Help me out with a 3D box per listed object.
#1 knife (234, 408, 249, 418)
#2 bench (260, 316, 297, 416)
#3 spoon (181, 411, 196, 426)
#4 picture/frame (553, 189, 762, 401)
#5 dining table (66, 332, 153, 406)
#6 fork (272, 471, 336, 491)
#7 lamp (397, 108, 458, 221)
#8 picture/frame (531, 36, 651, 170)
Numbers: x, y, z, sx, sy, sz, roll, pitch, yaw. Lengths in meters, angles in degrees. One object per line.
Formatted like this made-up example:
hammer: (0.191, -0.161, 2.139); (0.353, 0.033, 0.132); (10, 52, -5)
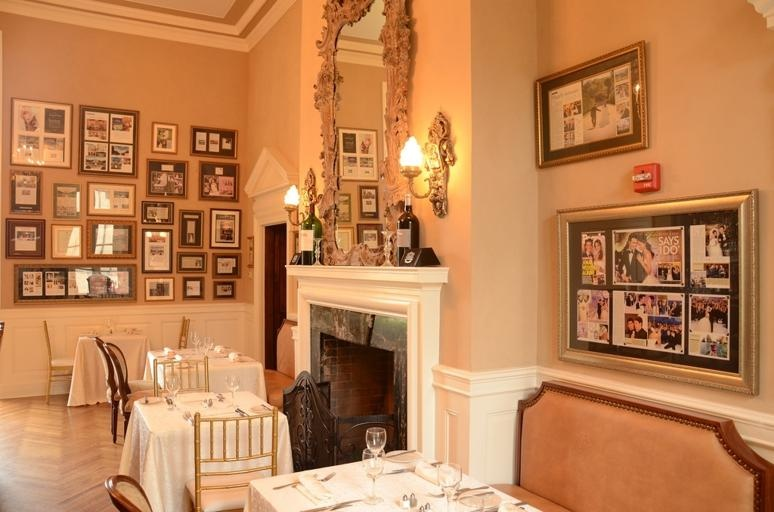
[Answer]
knife: (-1.214, 1.293, 4.727); (0.070, 0.054, 0.257); (3, 2, -26)
bench: (-1.513, 1.524, 7.846); (0.302, 0.944, 0.946); (3, -10, -20)
spoon: (-1.666, 1.360, 4.742); (0.069, 0.057, 0.256); (-19, 13, -21)
picture/frame: (1.925, 0.277, 3.892); (0.104, 1.314, 1.494); (3, -3, -38)
dining table: (-4.024, 1.580, 8.495); (1.183, 0.871, 0.879); (0, 7, -12)
fork: (-0.528, 1.474, 3.680); (0.349, 0.056, 0.050); (-1, -4, -28)
lamp: (0.357, -0.754, 4.781); (0.453, 0.886, 0.383); (-2, -1, 6)
picture/frame: (1.574, -1.140, 4.236); (0.045, 0.914, 1.070); (2, -4, -41)
